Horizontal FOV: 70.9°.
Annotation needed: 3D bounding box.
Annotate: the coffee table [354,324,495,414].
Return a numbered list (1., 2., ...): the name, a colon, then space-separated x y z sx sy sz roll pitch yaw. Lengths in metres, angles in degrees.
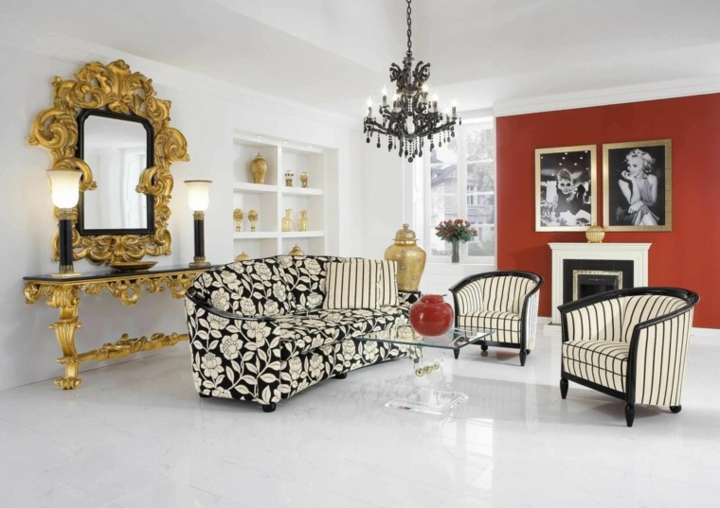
1. coffee table: 0.698 1.137 4.917 0.900 0.554 0.920 -2 -2 38

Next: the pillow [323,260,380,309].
1. pillow: -0.087 0.371 6.010 0.633 0.571 0.174 1 -13 0

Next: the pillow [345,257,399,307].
1. pillow: 0.117 0.356 5.967 0.537 0.517 0.187 1 -9 -4

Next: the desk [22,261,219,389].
1. desk: -2.600 0.790 5.905 0.749 1.094 2.282 -6 -2 20

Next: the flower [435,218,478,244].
1. flower: 1.530 -0.373 8.251 0.481 0.308 0.470 -2 5 -36

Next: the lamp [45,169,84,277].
1. lamp: -2.895 -0.313 5.041 0.283 1.033 0.332 -6 11 -29
